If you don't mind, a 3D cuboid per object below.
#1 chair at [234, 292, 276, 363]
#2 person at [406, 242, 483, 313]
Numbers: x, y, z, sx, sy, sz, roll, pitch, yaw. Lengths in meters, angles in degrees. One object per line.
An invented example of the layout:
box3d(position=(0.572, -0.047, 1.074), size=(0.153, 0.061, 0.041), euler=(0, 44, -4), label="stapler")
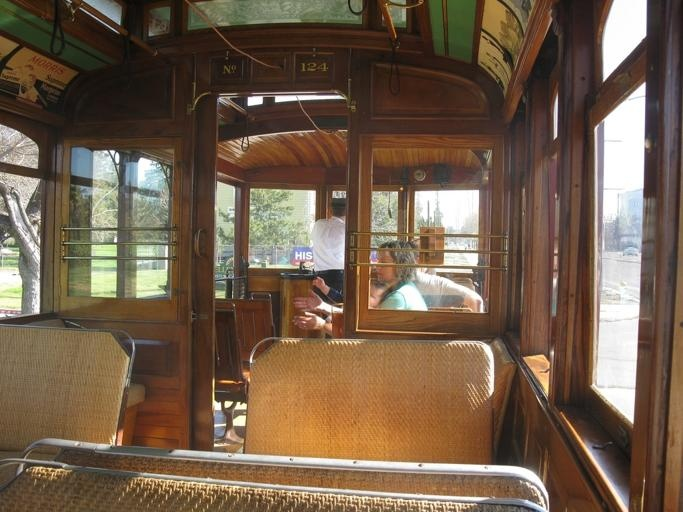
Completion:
box3d(position=(-0.802, 0.676, 5.653), size=(0.347, 0.681, 0.676), euler=(-1, -3, 4), label="chair")
box3d(position=(0.749, 0.180, 4.415), size=(0.521, 0.791, 0.387), euler=(1, 1, 5), label="person")
